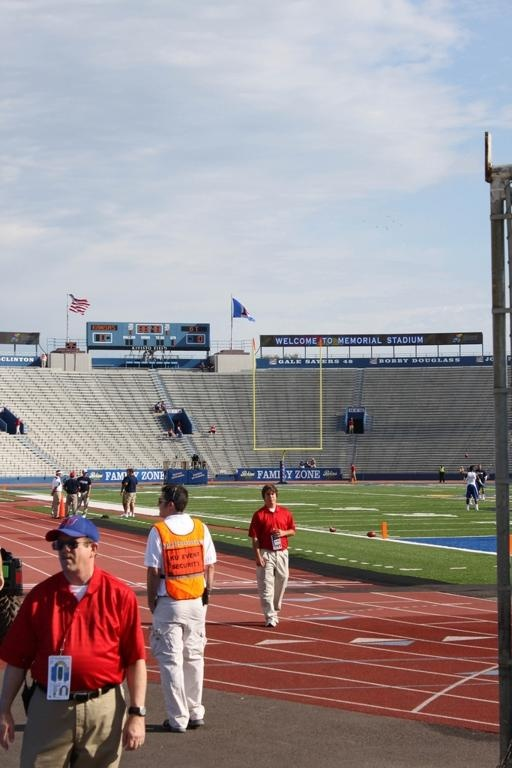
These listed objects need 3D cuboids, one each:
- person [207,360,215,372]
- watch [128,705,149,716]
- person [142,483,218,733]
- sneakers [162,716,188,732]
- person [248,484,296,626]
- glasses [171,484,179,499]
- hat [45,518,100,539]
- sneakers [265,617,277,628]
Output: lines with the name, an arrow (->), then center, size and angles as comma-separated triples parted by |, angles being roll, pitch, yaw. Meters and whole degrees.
person -> -2.685, -1.011, 67.980 | 0.514, 0.662, 1.202 | -2, 3, 7
watch -> -0.508, 1.423, 4.852 | 0.075, 0.047, 0.078 | -2, -10, 29
person -> -0.506, 1.460, 7.319 | 0.295, 1.565, 0.547 | -2, -2, 29
sneakers -> -0.531, 2.208, 7.198 | 0.176, 0.066, 0.144 | -2, -2, 11
person -> 0.161, 1.707, 11.126 | 0.433, 1.416, 0.948 | -1, -2, 2
glasses -> -0.532, 0.717, 7.370 | 0.052, 0.068, 0.067 | 4, -14, -13
hat -> -0.791, 0.647, 4.904 | 0.181, 0.102, 0.116 | 18, -20, -18
sneakers -> 0.149, 2.342, 10.931 | 0.115, 0.052, 0.158 | -1, 1, 5
